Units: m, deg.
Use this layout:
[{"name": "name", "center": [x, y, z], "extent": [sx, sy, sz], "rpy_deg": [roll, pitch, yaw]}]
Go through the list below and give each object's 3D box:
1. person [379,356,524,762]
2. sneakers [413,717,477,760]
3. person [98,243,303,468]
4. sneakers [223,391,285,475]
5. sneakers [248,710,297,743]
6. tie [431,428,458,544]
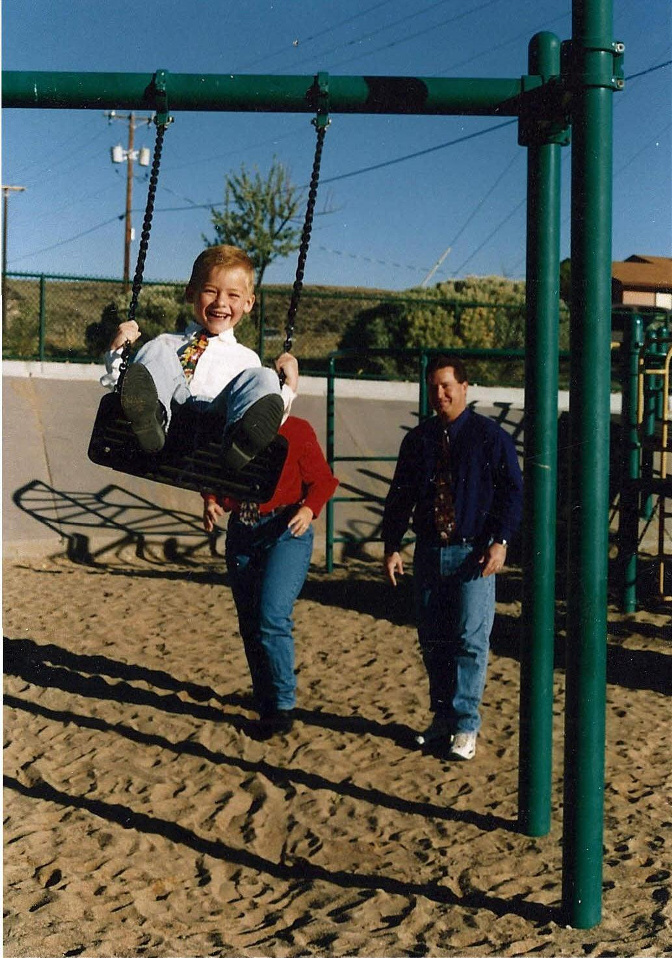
[{"name": "person", "center": [0.424, 0.317, 4.413], "extent": [0.585, 1.538, 0.218], "rpy_deg": [6, 8, 43]}, {"name": "sneakers", "center": [0.427, 1.033, 4.531], "extent": [0.099, 0.121, 0.279], "rpy_deg": [-29, -7, -22]}, {"name": "person", "center": [-0.388, -0.412, 3.483], "extent": [0.587, 0.561, 0.919], "rpy_deg": [12, 10, -11]}, {"name": "sneakers", "center": [-0.227, -0.129, 3.154], "extent": [0.135, 0.220, 0.086], "rpy_deg": [38, -8, -22]}, {"name": "sneakers", "center": [-0.266, 1.003, 4.671], "extent": [0.242, 0.077, 0.167], "rpy_deg": [-8, -13, 21]}, {"name": "tie", "center": [0.404, 0.020, 4.307], "extent": [0.074, 0.419, 0.129], "rpy_deg": [1, 6, -2]}]
